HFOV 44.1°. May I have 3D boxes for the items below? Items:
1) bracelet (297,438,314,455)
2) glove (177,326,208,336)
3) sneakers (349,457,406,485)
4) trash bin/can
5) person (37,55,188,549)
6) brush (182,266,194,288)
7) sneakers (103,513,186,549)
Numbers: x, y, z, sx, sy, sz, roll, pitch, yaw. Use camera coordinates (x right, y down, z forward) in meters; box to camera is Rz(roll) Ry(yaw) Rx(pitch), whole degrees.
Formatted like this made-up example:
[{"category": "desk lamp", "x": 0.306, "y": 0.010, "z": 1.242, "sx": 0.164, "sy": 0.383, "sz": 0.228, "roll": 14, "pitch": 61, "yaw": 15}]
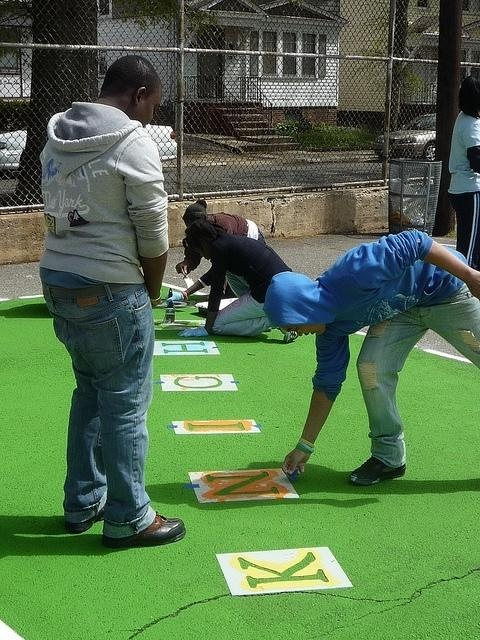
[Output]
[{"category": "bracelet", "x": 0.299, "y": 0.583, "z": 2.743, "sx": 0.077, "sy": 0.053, "sz": 0.069, "roll": 28, "pitch": -5, "yaw": 28}, {"category": "glove", "x": -0.427, "y": 0.106, "z": 5.460, "sx": 0.199, "sy": 0.056, "sz": 0.106, "roll": -2, "pitch": 19, "yaw": -13}, {"category": "sneakers", "x": 0.653, "y": 0.719, "z": 2.942, "sx": 0.323, "sy": 0.123, "sz": 0.107, "roll": -3, "pitch": 10, "yaw": -21}, {"category": "trash bin/can", "x": 2.637, "y": -1.909, "z": 9.163, "sx": 0.766, "sy": 1.144, "sz": 0.460, "roll": 6, "pitch": 11, "yaw": 24}, {"category": "person", "x": -0.472, "y": -0.022, "z": 2.079, "sx": 0.496, "sy": 1.790, "sz": 0.397, "roll": 4, "pitch": 10, "yaw": 14}, {"category": "brush", "x": -0.584, "y": -0.480, "z": 6.593, "sx": 0.090, "sy": 0.239, "sz": 0.191, "roll": -1, "pitch": 13, "yaw": 13}, {"category": "sneakers", "x": -0.361, "y": 0.786, "z": 2.294, "sx": 0.302, "sy": 0.117, "sz": 0.106, "roll": -3, "pitch": 7, "yaw": -21}]
